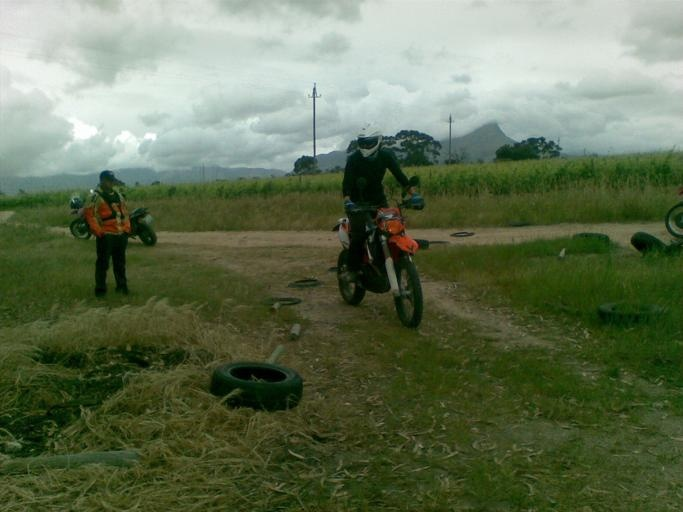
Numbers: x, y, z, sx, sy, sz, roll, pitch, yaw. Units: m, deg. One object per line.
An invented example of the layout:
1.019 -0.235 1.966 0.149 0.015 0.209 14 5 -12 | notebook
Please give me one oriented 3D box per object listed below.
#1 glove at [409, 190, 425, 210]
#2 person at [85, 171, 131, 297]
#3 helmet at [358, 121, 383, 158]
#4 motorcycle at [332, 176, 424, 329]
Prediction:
1.044 -0.764 9.415 0.187 0.229 0.350 1 11 8 | glove
-3.970 -0.429 11.470 0.694 2.074 0.927 -4 11 -18 | person
0.413 -1.763 10.082 0.384 0.503 0.527 3 20 21 | helmet
0.534 0.001 9.702 0.898 1.836 1.891 -5 12 -23 | motorcycle
